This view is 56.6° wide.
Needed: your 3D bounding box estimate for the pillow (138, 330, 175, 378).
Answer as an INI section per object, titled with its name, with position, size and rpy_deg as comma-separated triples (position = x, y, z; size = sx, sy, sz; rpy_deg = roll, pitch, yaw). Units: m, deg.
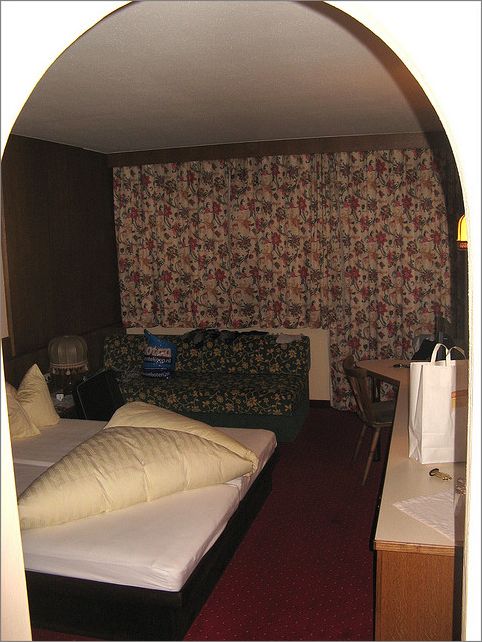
[pillow]
position = -0.909, 0.383, 4.862
size = 0.335, 0.387, 0.215
rpy_deg = 13, -32, -19
